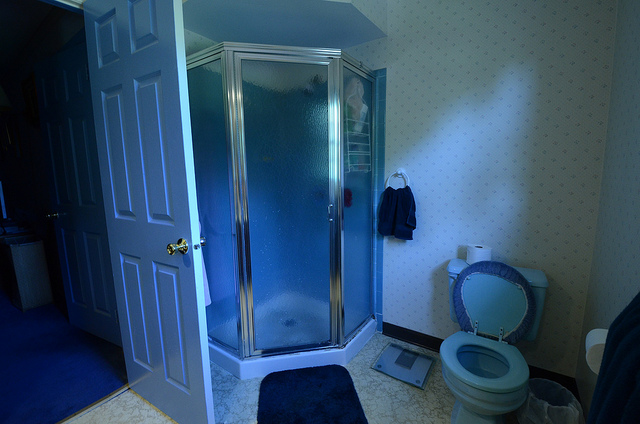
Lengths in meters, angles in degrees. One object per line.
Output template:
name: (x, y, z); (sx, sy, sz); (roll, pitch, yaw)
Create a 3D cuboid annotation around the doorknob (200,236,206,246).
doorknob: (-0.872, 0.216, 3.419); (0.034, 0.081, 0.059); (-3, 15, -16)

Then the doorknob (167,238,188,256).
doorknob: (-1.049, 0.258, 3.399); (0.172, 0.133, 0.040); (7, 16, 20)

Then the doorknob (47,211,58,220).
doorknob: (-2.631, 0.034, 4.547); (0.197, 0.100, 0.056); (11, 7, 41)
